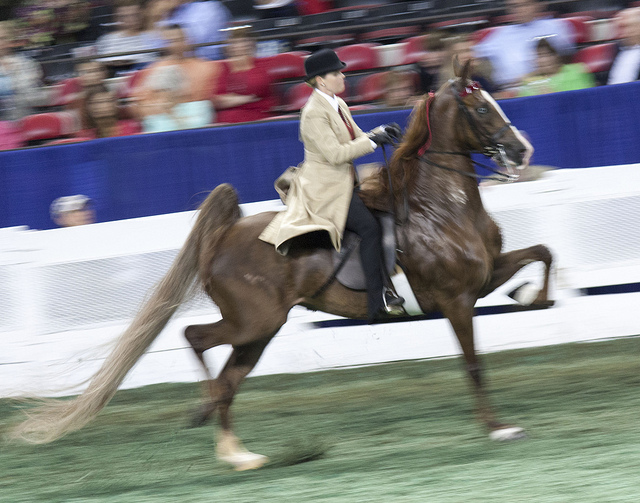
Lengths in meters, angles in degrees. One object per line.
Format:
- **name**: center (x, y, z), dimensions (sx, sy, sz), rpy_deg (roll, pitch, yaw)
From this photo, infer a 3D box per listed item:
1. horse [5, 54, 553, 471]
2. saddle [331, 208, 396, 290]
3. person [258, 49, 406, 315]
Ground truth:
- **horse**: center (-0.106, 0.080, 3.917), dimensions (2.601, 1.914, 1.066), rpy_deg (-15, 25, -14)
- **saddle**: center (0.255, 0.006, 4.032), dimensions (0.508, 0.323, 0.134), rpy_deg (0, 2, 25)
- **person**: center (0.044, -0.357, 4.030), dimensions (0.703, 1.406, 0.603), rpy_deg (-3, 28, 22)
